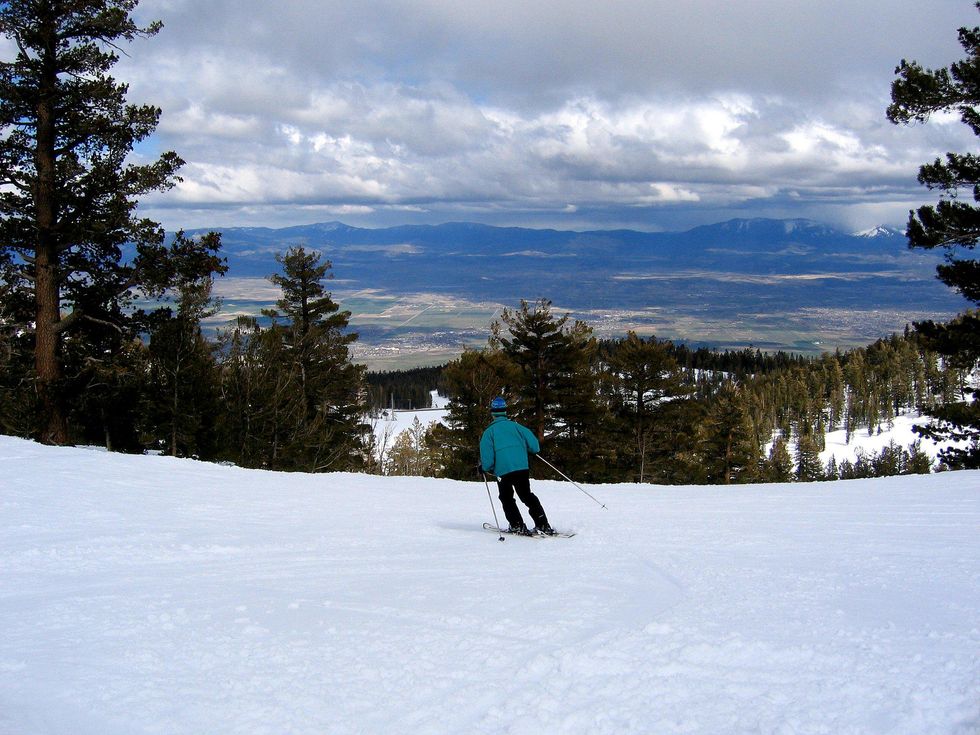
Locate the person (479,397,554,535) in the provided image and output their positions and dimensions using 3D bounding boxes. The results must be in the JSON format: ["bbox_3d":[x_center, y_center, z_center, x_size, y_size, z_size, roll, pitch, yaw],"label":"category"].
[{"bbox_3d":[0.415,1.614,15.643,1.138,2.176,0.792,2,5,2],"label":"person"}]

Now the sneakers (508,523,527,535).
[{"bbox_3d":[0.440,2.645,15.452,0.203,0.104,0.278,2,-4,-6],"label":"sneakers"}]
